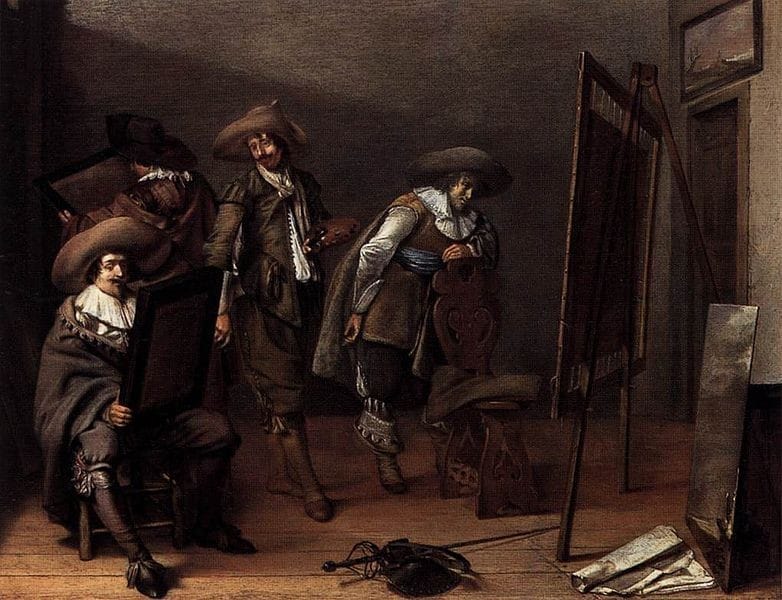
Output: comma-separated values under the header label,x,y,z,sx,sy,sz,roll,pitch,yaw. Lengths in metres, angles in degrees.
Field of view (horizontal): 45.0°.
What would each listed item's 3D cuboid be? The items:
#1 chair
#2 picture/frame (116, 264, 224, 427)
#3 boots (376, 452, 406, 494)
label,x,y,z,sx,sy,sz,roll,pitch,yaw
chair,0.601,0.558,6.268,0.767,1.643,0.611,-2,4,5
picture/frame,-1.381,0.268,5.701,0.122,1.136,0.881,27,27,29
boots,-0.014,1.171,6.380,0.131,0.233,0.351,-7,9,-13
